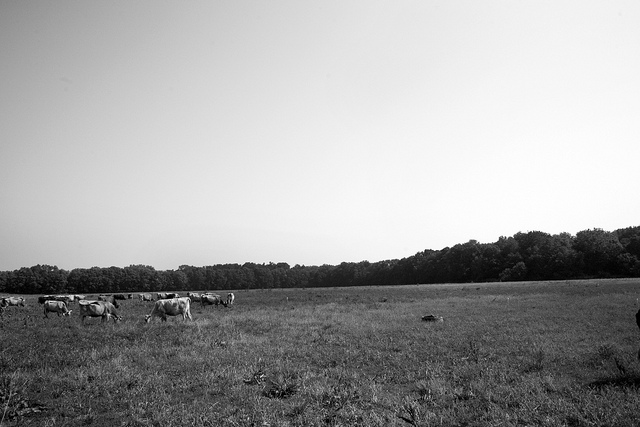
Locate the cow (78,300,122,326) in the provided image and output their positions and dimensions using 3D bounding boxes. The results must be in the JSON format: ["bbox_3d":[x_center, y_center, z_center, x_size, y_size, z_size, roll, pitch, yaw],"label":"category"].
[{"bbox_3d":[-18.928,8.582,50.206,3.610,1.981,0.984,10,-13,-34],"label":"cow"}]

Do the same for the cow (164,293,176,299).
[{"bbox_3d":[-18.959,10.235,73.004,1.271,0.600,1.655,2,0,-42],"label":"cow"}]

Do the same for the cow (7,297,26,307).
[{"bbox_3d":[-36.975,10.804,70.988,1.677,0.886,1.300,1,-17,-24],"label":"cow"}]
